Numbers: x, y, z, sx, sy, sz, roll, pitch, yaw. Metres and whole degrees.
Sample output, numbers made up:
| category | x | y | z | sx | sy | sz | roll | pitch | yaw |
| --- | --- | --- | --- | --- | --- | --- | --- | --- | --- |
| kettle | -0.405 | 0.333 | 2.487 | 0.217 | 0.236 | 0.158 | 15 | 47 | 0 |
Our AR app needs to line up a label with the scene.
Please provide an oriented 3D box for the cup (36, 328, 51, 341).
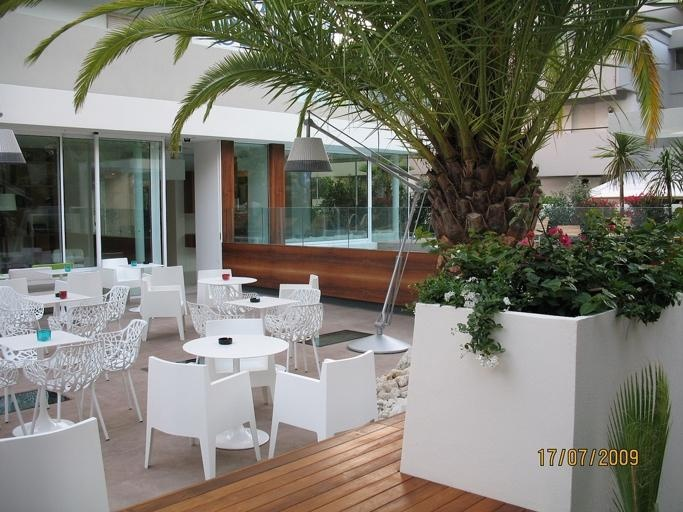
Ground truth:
| category | x | y | z | sx | sy | sz | roll | pitch | yaw |
| --- | --- | --- | --- | --- | --- | --- | --- | --- | --- |
| cup | -2.907 | 0.762 | 4.488 | 0.117 | 0.088 | 0.119 | 1 | 1 | 0 |

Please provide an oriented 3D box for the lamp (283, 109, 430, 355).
| category | x | y | z | sx | sy | sz | roll | pitch | yaw |
| --- | --- | --- | --- | --- | --- | --- | --- | --- | --- |
| lamp | 0.239 | -0.333 | 6.949 | 2.143 | 3.554 | 1.044 | 2 | 5 | 11 |

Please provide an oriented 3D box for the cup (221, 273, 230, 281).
| category | x | y | z | sx | sy | sz | roll | pitch | yaw |
| --- | --- | --- | --- | --- | --- | --- | --- | --- | --- |
| cup | -2.067 | 0.368 | 8.181 | 0.128 | 0.100 | 0.114 | 0 | 1 | -11 |

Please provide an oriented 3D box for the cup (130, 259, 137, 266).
| category | x | y | z | sx | sy | sz | roll | pitch | yaw |
| --- | --- | --- | --- | --- | --- | --- | --- | --- | --- |
| cup | -4.949 | 0.153 | 10.904 | 0.162 | 0.120 | 0.165 | 2 | 6 | 0 |
